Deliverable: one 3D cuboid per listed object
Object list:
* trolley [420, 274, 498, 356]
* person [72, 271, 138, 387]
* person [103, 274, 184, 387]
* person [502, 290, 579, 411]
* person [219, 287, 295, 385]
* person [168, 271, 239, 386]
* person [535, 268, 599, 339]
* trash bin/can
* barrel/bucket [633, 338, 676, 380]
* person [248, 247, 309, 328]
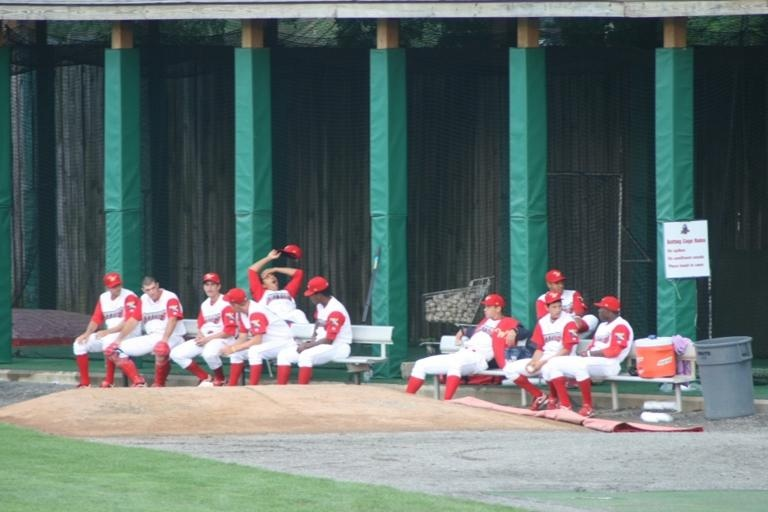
[{"bbox_3d":[1.240,0.995,37.489,1.744,1.485,1.052,2,-6,2],"label":"trolley"},{"bbox_3d":[-5.001,1.244,36.768,1.009,2.089,1.002,0,-6,10],"label":"person"},{"bbox_3d":[-4.232,1.352,36.498,1.124,1.974,1.174,-2,-7,11],"label":"person"},{"bbox_3d":[2.661,1.616,35.539,1.272,2.023,1.058,2,0,-17],"label":"person"},{"bbox_3d":[-2.230,1.389,35.866,1.126,1.639,0.539,0,-5,-3],"label":"person"},{"bbox_3d":[-3.053,1.346,36.404,0.990,2.067,1.183,-1,-5,11],"label":"person"},{"bbox_3d":[3.206,0.855,36.267,0.916,1.243,1.138,-4,-1,11],"label":"person"},{"bbox_3d":[5.648,2.074,34.914,1.575,1.407,1.231,-8,-10,8],"label":"trash bin/can"},{"bbox_3d":[4.518,1.715,34.987,0.749,0.657,0.671,0,-1,3],"label":"barrel/bucket"},{"bbox_3d":[-1.921,0.563,37.146,0.954,1.441,1.059,-1,-2,5],"label":"person"}]
